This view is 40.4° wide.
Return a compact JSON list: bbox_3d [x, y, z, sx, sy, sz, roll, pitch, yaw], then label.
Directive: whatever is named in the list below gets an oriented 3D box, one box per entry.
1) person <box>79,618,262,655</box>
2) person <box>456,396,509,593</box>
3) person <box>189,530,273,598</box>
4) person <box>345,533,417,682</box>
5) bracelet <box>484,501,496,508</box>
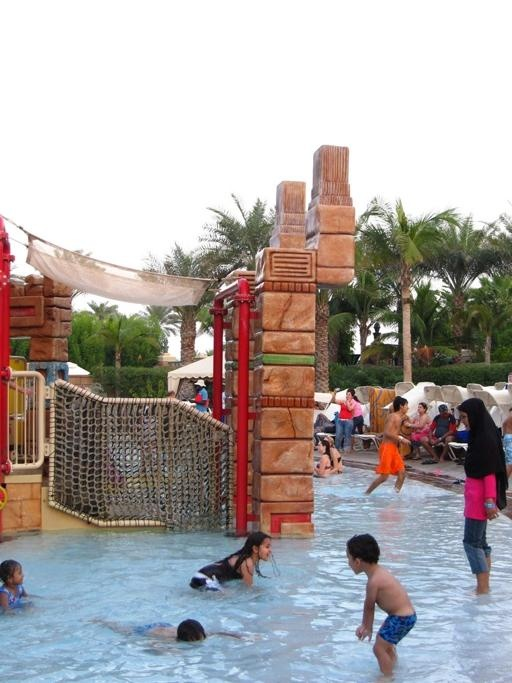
[{"bbox_3d":[-0.589,1.789,4.362,1.161,0.115,0.454,-3,-7,20],"label":"person"},{"bbox_3d":[1.781,1.212,5.435,0.342,1.522,0.450,-3,-6,15],"label":"person"},{"bbox_3d":[-0.214,1.862,5.589,0.610,0.710,0.246,5,7,-4],"label":"person"},{"bbox_3d":[0.700,1.430,3.899,0.349,0.716,0.489,-2,-6,9],"label":"person"},{"bbox_3d":[1.775,1.227,5.255,0.048,0.030,0.053,2,-6,3],"label":"bracelet"}]
